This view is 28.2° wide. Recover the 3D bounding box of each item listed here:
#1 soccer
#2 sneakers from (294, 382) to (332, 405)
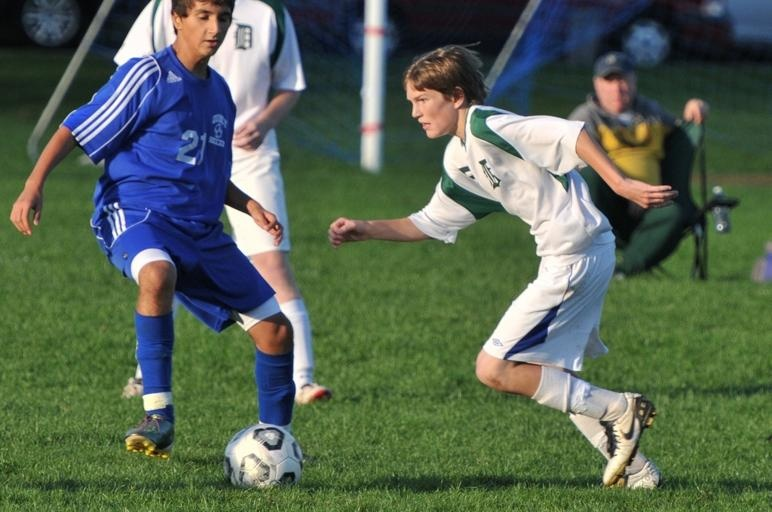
[{"bbox_3d":[-0.901,1.515,11.445,0.476,0.474,0.452,29,32,-52],"label":"soccer"},{"bbox_3d":[-0.564,1.116,12.311,0.144,0.103,0.259,-2,-7,-44],"label":"sneakers"}]
